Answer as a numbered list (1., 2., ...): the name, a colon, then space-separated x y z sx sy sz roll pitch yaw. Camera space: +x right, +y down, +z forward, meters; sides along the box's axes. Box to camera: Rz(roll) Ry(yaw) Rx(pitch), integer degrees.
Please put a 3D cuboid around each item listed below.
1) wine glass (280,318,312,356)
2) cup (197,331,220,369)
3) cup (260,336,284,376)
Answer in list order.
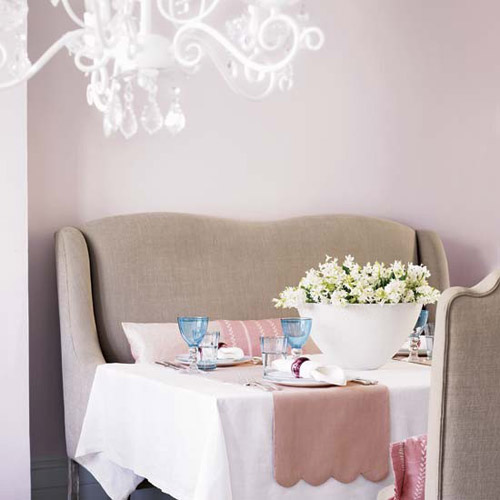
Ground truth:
1. wine glass: 0.129 0.248 1.765 0.085 0.123 0.093 0 -5 -2
2. cup: -0.126 0.311 1.916 0.087 0.165 0.093 1 -4 0
3. cup: 0.060 0.280 1.632 0.073 0.138 0.085 0 -10 0
